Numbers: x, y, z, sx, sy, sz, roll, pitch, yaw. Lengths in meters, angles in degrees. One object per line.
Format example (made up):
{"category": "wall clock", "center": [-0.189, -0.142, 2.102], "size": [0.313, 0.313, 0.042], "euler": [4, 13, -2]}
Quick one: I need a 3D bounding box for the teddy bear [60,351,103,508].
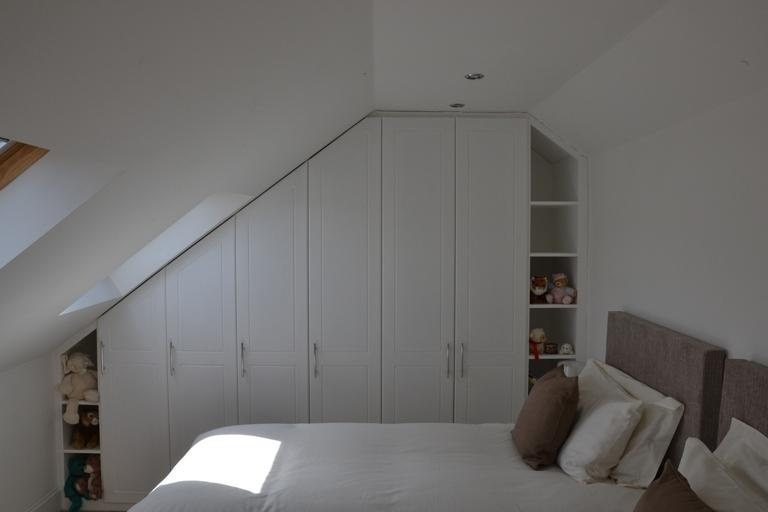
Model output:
{"category": "teddy bear", "center": [-2.231, 1.271, 4.151], "size": [0.323, 1.125, 0.264], "euler": [8, -10, -42]}

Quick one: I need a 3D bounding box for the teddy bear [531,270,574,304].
{"category": "teddy bear", "center": [1.243, 0.231, 4.152], "size": [0.210, 0.141, 0.286], "euler": [5, -4, -10]}

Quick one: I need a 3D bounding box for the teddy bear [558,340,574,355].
{"category": "teddy bear", "center": [1.345, 0.685, 4.212], "size": [0.090, 0.069, 0.085], "euler": [0, -6, 10]}

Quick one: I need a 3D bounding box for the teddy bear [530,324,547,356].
{"category": "teddy bear", "center": [1.127, 0.612, 4.199], "size": [0.163, 0.227, 0.194], "euler": [0, 2, 5]}
